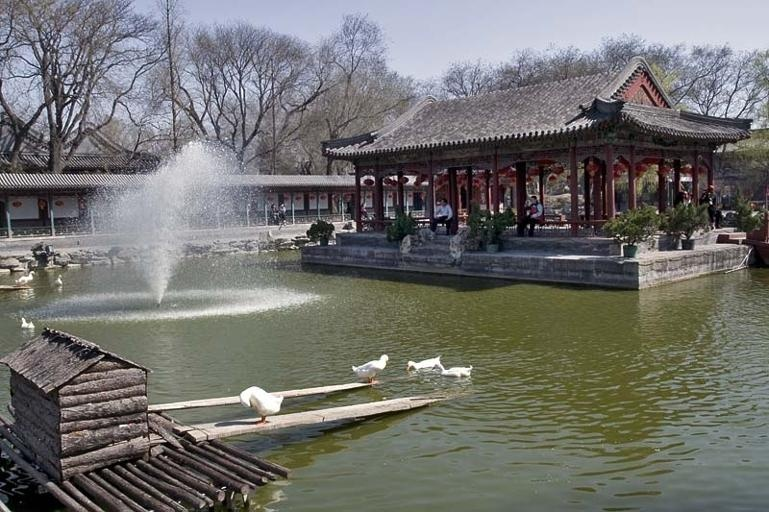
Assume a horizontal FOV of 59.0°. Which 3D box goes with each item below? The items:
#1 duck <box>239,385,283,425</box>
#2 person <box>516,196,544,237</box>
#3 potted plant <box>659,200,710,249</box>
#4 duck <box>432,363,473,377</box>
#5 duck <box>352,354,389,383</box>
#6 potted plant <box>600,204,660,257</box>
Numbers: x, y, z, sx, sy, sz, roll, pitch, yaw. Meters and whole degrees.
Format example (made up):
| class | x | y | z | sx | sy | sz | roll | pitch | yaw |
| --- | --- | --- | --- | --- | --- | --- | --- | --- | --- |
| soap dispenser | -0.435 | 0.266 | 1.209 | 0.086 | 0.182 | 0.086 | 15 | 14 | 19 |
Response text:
| class | x | y | z | sx | sy | sz | roll | pitch | yaw |
| --- | --- | --- | --- | --- | --- | --- | --- | --- | --- |
| duck | -1.699 | 2.070 | 9.443 | 0.694 | 0.456 | 0.402 | 8 | -9 | -39 |
| person | 4.782 | -1.339 | 22.255 | 0.783 | 1.197 | 1.748 | 2 | 11 | 16 |
| potted plant | 8.808 | -0.948 | 20.665 | 1.652 | 1.609 | 1.468 | -3 | 4 | -42 |
| duck | 1.152 | 1.931 | 11.485 | 0.650 | 0.237 | 0.231 | -2 | -23 | 18 |
| duck | -0.247 | 1.857 | 11.334 | 0.531 | 0.419 | 0.598 | -2 | 10 | -4 |
| potted plant | 6.733 | -0.679 | 18.463 | 1.308 | 1.329 | 0.792 | -5 | 11 | -17 |
